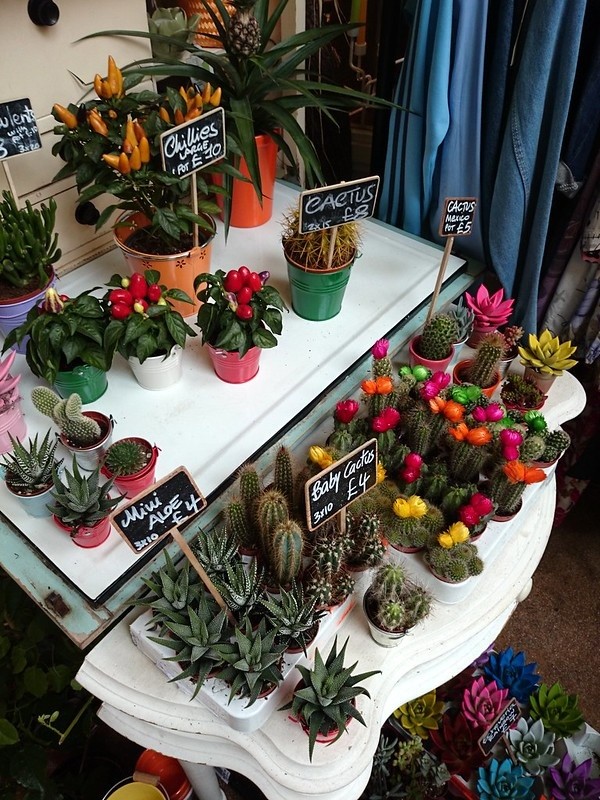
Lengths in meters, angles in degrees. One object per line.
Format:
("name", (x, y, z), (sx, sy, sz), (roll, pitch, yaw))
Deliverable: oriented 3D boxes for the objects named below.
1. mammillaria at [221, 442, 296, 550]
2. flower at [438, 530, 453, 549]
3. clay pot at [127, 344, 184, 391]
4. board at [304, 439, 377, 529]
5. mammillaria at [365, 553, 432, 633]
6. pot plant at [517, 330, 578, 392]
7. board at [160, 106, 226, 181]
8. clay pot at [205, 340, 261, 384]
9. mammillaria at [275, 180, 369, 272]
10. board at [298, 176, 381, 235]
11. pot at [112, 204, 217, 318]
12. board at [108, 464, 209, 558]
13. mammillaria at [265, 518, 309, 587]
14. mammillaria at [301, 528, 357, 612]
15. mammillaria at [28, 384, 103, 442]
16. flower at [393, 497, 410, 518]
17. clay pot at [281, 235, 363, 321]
("mammillaria", (-0.071, 0.157, 0.921), (0.062, 0.138, 0.073), (-20, 68, -12))
("flower", (0.227, 0.219, 0.894), (0.016, 0.024, 0.026), (8, 14, 12))
("clay pot", (-0.279, -0.055, 1.136), (0.102, 0.075, 0.093), (-5, 60, -7))
("board", (0.063, 0.132, 0.858), (0.010, 0.098, 0.139), (25, 47, 31))
("mammillaria", (0.144, 0.299, 0.845), (0.097, 0.119, 0.082), (0, 33, -1))
("pot plant", (0.534, -0.083, 1.250), (0.102, 0.101, 0.101), (-37, 63, -19))
("board", (-0.200, -0.487, 1.100), (0.149, 0.003, 0.106), (-7, 80, 31))
("clay pot", (-0.132, -0.067, 1.153), (0.086, 0.068, 0.094), (1, 51, -2))
("mammillaria", (0.048, -0.372, 1.183), (0.182, 0.228, 0.176), (-4, 49, -7))
("board", (0.073, -0.374, 1.091), (0.200, 0.105, 0.041), (-26, 50, -25))
("pot", (-0.292, -0.337, 1.350), (0.224, 0.187, 0.239), (0, 50, 0))
("board", (-0.179, 0.140, 0.732), (0.109, 0.107, 0.007), (-34, 56, -25))
("mammillaria", (-0.014, 0.209, 0.790), (0.039, 0.094, 0.037), (11, 26, 20))
("mammillaria", (0.064, 0.252, 0.871), (0.069, 0.068, 0.105), (14, 60, -33))
("mammillaria", (-0.410, 0.025, 0.998), (0.046, 0.099, 0.035), (-27, 56, -10))
("flower", (0.161, 0.172, 0.910), (0.026, 0.034, 0.032), (-8, 29, 14))
("clay pot", (0.047, -0.279, 1.319), (0.155, 0.157, 0.149), (1, 41, -1))
